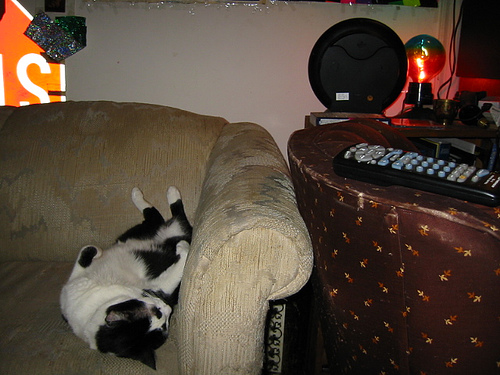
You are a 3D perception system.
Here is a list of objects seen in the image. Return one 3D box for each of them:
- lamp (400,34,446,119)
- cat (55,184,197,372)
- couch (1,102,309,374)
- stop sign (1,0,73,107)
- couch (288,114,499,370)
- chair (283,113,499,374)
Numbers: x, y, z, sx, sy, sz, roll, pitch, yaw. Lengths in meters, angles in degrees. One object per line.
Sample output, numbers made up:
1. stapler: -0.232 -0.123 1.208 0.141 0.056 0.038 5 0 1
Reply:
1. lamp: 0.736 -0.479 1.753 0.170 0.344 0.169 10 20 21
2. cat: -0.368 0.300 1.333 0.390 0.247 0.542 -18 44 2
3. couch: -0.318 0.182 1.235 0.820 0.536 0.452 0 15 -2
4. stop sign: -0.990 -0.603 1.840 0.323 0.458 0.063 5 19 6
5. couch: 0.223 0.165 1.124 0.526 0.664 0.525 -12 43 4
6. chair: 0.301 0.143 1.136 0.579 0.687 0.537 -9 39 9
